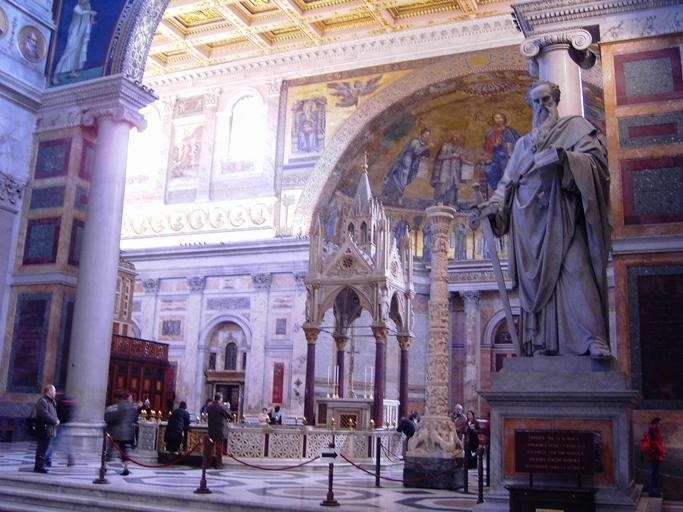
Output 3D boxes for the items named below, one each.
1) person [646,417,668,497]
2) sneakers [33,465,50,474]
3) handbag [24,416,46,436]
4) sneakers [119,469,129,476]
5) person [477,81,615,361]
[{"bbox_3d":[4.382,2.780,9.254,0.268,0.985,1.193,-5,-13,25],"label":"person"},{"bbox_3d":[-4.443,3.183,9.855,0.248,0.107,0.084,-2,-7,4],"label":"sneakers"},{"bbox_3d":[-4.694,2.622,10.175,0.296,0.334,0.358,7,-14,-31],"label":"handbag"},{"bbox_3d":[-3.371,3.379,10.293,0.180,0.076,0.199,-4,-3,-13],"label":"sneakers"},{"bbox_3d":[2.326,-0.469,7.337,1.212,3.191,0.679,-5,-13,24],"label":"person"}]
